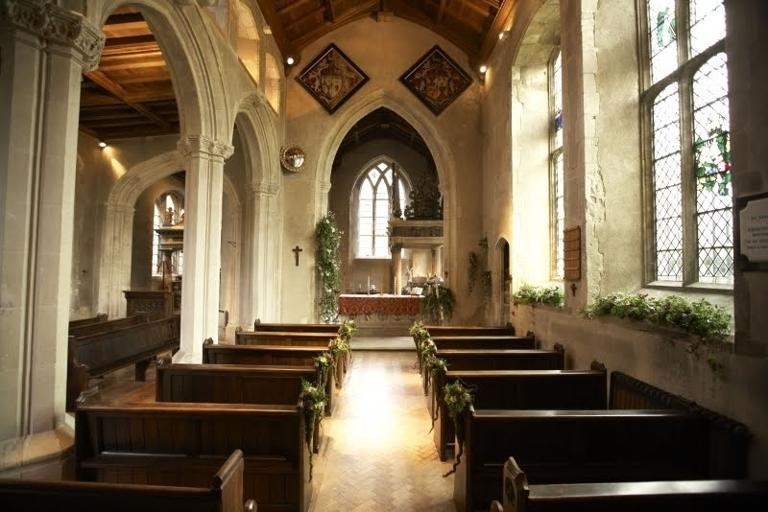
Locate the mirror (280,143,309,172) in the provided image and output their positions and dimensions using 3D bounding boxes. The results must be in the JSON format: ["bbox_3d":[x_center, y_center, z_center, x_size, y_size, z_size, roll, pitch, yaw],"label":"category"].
[{"bbox_3d":[-2.150,-2.277,14.723,0.577,0.596,0.250,0,-3,-10],"label":"mirror"}]
